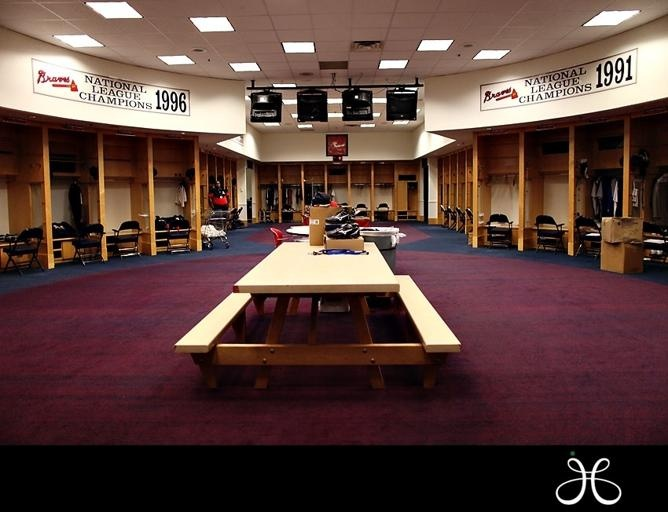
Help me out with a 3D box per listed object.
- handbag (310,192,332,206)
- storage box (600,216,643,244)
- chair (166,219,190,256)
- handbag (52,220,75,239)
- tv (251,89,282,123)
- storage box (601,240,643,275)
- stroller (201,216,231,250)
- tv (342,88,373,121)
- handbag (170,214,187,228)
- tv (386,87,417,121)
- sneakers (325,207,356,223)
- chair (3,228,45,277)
[{"bbox_3d":[-0.158,-0.670,5.196,0.237,0.153,0.251,-2,8,-3],"label":"handbag"},{"bbox_3d":[5.153,-0.446,7.952,0.581,0.413,0.578,1,1,16],"label":"storage box"},{"bbox_3d":[-4.260,-0.549,12.101,0.801,1.070,0.852,0,6,-17],"label":"chair"},{"bbox_3d":[-6.268,-0.568,10.149,0.376,0.384,0.683,-1,8,6],"label":"handbag"},{"bbox_3d":[-1.751,-3.840,11.232,0.732,0.853,0.737,-3,8,-11],"label":"tv"},{"bbox_3d":[5.254,0.055,8.220,0.547,0.701,1.033,0,3,2],"label":"storage box"},{"bbox_3d":[-3.688,-0.676,13.167,0.836,1.081,1.214,-1,13,-16],"label":"stroller"},{"bbox_3d":[0.552,-3.811,10.975,0.709,0.735,0.490,-2,8,-1],"label":"tv"},{"bbox_3d":[-4.166,-0.901,11.909,0.348,0.163,0.500,1,-1,-10],"label":"handbag"},{"bbox_3d":[1.685,-3.879,11.179,0.734,0.798,0.449,-2,8,-1],"label":"tv"},{"bbox_3d":[0.118,-0.435,4.887,0.404,0.150,0.134,-2,3,-42],"label":"sneakers"},{"bbox_3d":[-6.425,-0.124,9.149,0.740,0.875,1.309,-7,10,-33],"label":"chair"}]
